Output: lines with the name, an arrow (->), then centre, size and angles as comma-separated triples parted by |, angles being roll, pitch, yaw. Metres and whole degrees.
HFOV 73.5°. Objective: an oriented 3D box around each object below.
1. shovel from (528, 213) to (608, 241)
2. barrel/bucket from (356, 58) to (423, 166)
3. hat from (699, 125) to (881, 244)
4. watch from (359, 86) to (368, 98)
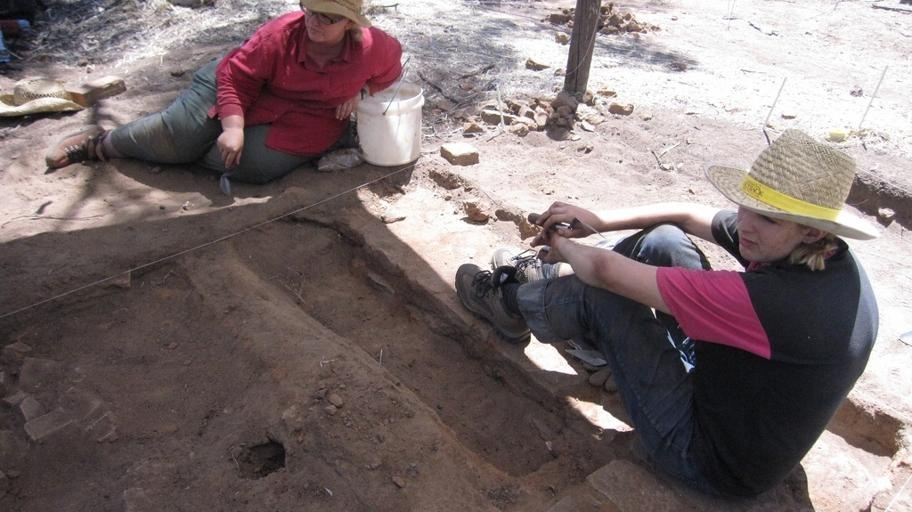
shovel -> 0.825, -0.227, 4.501 | 0.551, 0.210, 0.093 | 11, 57, 29
barrel/bucket -> -0.642, -1.335, 5.746 | 0.614, 0.880, 0.667 | 1, 43, -1
hat -> 2.098, -0.323, 3.785 | 0.867, 0.318, 0.774 | 27, 29, 21
watch -> -0.840, -1.533, 5.670 | 0.085, 0.090, 0.075 | -13, -3, 45
